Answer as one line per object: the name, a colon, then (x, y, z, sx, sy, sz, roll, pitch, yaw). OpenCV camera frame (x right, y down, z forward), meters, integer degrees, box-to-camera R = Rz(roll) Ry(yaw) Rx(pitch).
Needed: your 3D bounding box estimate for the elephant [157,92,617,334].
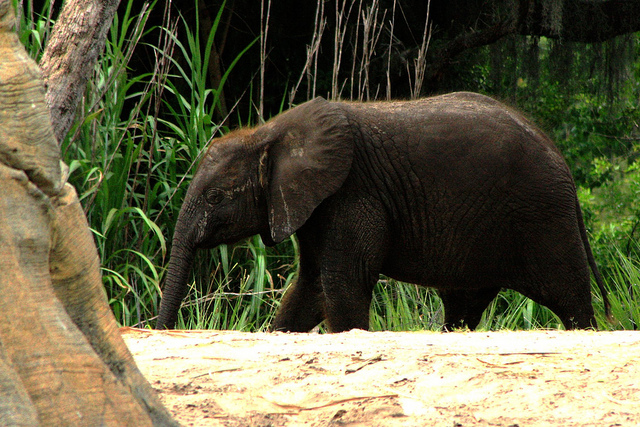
elephant: (0.480, 0.109, 5.553, 3.129, 1.947, 1.237, 0, 6, -1)
